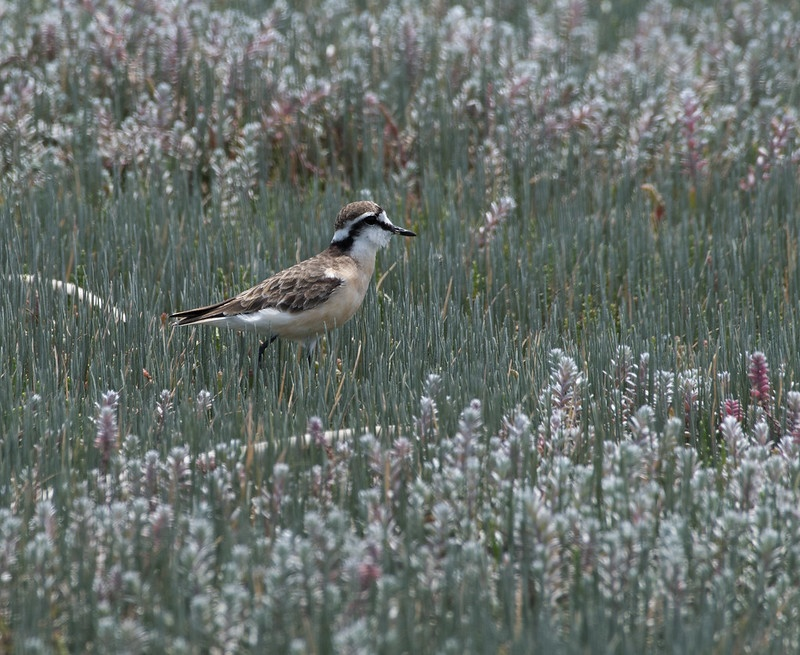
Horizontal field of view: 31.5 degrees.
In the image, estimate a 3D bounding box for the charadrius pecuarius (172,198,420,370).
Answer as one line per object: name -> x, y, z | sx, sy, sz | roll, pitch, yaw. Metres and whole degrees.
charadrius pecuarius -> -0.503, -0.182, 6.603 | 1.065, 0.441, 0.926 | 2, 93, 2
